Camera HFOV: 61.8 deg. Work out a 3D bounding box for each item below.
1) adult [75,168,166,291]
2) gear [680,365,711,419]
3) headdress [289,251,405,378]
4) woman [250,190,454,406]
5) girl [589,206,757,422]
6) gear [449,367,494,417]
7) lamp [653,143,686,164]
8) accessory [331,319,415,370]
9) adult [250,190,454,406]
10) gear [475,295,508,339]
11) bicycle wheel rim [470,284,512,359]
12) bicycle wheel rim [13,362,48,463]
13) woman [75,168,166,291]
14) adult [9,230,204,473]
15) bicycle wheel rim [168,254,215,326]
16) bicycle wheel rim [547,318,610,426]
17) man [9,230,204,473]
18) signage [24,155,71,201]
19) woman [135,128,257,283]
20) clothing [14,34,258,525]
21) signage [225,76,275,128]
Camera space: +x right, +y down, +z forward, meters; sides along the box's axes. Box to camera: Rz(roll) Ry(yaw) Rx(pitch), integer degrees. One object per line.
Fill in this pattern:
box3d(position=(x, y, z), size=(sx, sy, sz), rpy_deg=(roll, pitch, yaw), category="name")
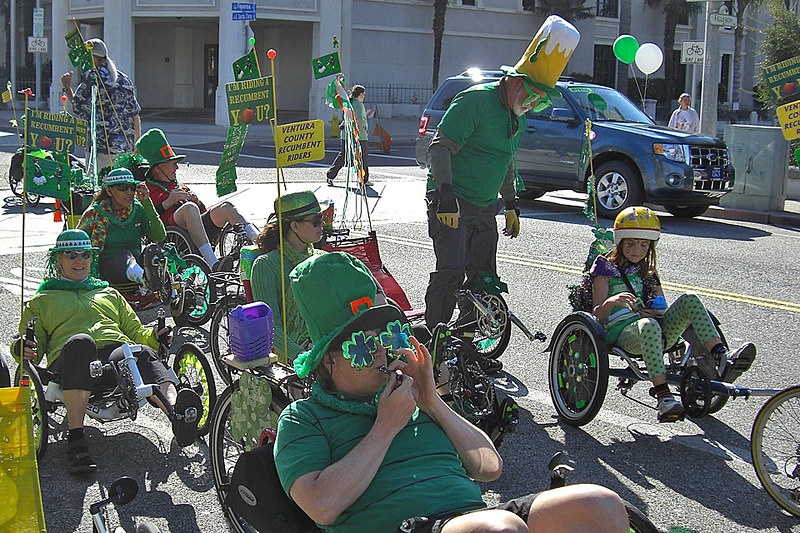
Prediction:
box3d(position=(-2.926, -0.424, 7.182), size=(0.811, 1.548, 1.747), rpy_deg=(4, -12, -27), category="adult")
box3d(position=(2.297, 0.995, 5.213), size=(0.235, 0.450, 0.218), rpy_deg=(6, 9, 27), category="gear")
box3d(position=(-0.301, 0.149, 3.198), size=(0.625, 0.380, 0.444), rpy_deg=(-22, 12, -28), category="headdress")
box3d(position=(-0.632, 0.175, 5.288), size=(1.675, 1.598, 0.980), rpy_deg=(-15, 3, -41), category="woman")
box3d(position=(2.126, 0.286, 5.593), size=(0.781, 1.590, 1.584), rpy_deg=(-4, 5, -12), category="girl")
box3d(position=(0.516, 0.927, 4.870), size=(0.051, 0.425, 0.373), rpy_deg=(4, -7, -45), category="gear")
box3d(position=(5.558, -2.328, 13.718), size=(0.382, 0.246, 0.528), rpy_deg=(1, 6, -2), category="lamp")
box3d(position=(-0.107, 0.357, 3.046), size=(0.226, 0.122, 0.240), rpy_deg=(-17, 0, -29), category="accessory")
box3d(position=(-0.667, 0.202, 5.131), size=(1.624, 1.620, 0.997), rpy_deg=(-8, 9, 23), category="adult")
box3d(position=(0.851, 0.498, 6.658), size=(0.151, 0.403, 0.403), rpy_deg=(-8, 21, 43), category="gear")
box3d(position=(0.875, 0.539, 6.543), size=(0.651, 0.800, 0.206), rpy_deg=(5, -5, -40), category="bicycle wheel rim")
box3d(position=(-2.600, 1.039, 4.782), size=(0.200, 0.777, 0.664), rpy_deg=(-3, 10, -30), category="bicycle wheel rim")
box3d(position=(-2.920, -0.426, 7.158), size=(0.823, 1.571, 1.765), rpy_deg=(4, -12, -32), category="woman")
box3d(position=(-2.303, 0.467, 5.107), size=(1.065, 1.783, 2.021), rpy_deg=(-3, 0, -43), category="adult")
box3d(position=(-2.313, 0.283, 7.493), size=(0.638, 0.726, 0.281), rpy_deg=(-10, -9, 39), category="bicycle wheel rim")
box3d(position=(1.496, 0.891, 5.579), size=(0.109, 0.937, 0.765), rpy_deg=(4, 2, -24), category="bicycle wheel rim")
box3d(position=(-2.296, 0.455, 5.100), size=(2.012, 1.757, 1.080), rpy_deg=(-4, 0, 44), category="man")
box3d(position=(-4.908, -1.246, 9.394), size=(0.847, 0.537, 0.051), rpy_deg=(14, 13, 18), category="signage")
box3d(position=(-2.631, -0.807, 8.497), size=(1.353, 1.798, 0.784), rpy_deg=(2, 10, 26), category="woman")
box3d(position=(-2.394, 0.662, 5.515), size=(1.309, 1.955, 2.178), rpy_deg=(-2, 5, -34), category="clothing")
box3d(position=(-1.490, -1.645, 6.696), size=(0.491, 0.457, 0.020), rpy_deg=(-17, 43, -28), category="signage")
